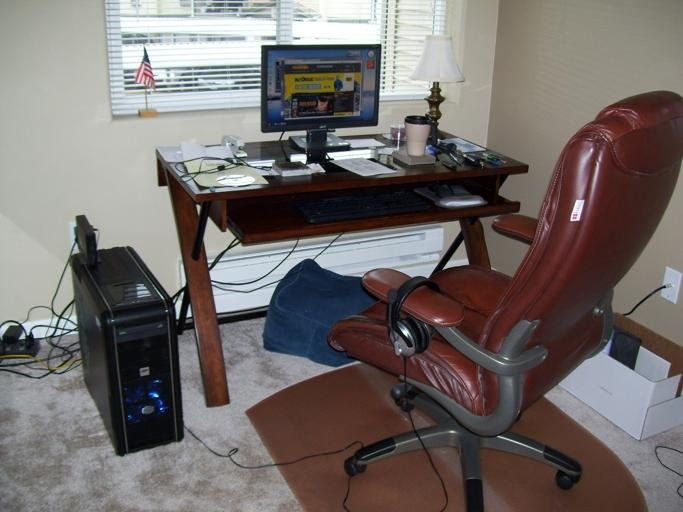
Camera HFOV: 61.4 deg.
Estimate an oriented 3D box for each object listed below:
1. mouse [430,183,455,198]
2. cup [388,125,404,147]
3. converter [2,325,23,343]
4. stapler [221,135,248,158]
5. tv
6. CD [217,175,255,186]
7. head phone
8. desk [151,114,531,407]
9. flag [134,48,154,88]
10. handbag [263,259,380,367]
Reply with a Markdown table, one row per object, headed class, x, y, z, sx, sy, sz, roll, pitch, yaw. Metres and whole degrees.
| class | x | y | z | sx | sy | sz | roll | pitch | yaw |
| --- | --- | --- | --- | --- | --- | --- | --- | --- | --- |
| mouse | 0.508 | -0.328 | 2.863 | 0.087 | 0.035 | 0.090 | -15 | 35 | -24 |
| cup | 0.305 | -0.639 | 3.058 | 0.104 | 0.083 | 0.089 | -14 | 21 | -42 |
| converter | -1.647 | 0.386 | 2.868 | 0.061 | 0.029 | 0.119 | 7 | 30 | -12 |
| stapler | -0.521 | -0.539 | 2.805 | 0.063 | 0.104 | 0.252 | -13 | 34 | -25 |
| tv | -0.103 | -0.736 | 2.804 | 0.591 | 0.551 | 0.216 | -8 | 29 | -18 |
| CD | -0.439 | -0.316 | 2.407 | 0.157 | 0.009 | 0.131 | -4 | 32 | -14 |
| head phone | 0.238 | 0.199 | 1.895 | 0.205 | 0.286 | 0.111 | -11 | 21 | -35 |
| desk | -0.143 | 0.425 | 3.255 | 1.907 | 1.345 | 1.147 | -11 | 30 | -20 |
| flag | -1.003 | -0.953 | 2.917 | 0.093 | 0.217 | 0.202 | -6 | 31 | -17 |
| handbag | -0.116 | 0.315 | 3.047 | 0.524 | 0.185 | 0.566 | 15 | 48 | -2 |
